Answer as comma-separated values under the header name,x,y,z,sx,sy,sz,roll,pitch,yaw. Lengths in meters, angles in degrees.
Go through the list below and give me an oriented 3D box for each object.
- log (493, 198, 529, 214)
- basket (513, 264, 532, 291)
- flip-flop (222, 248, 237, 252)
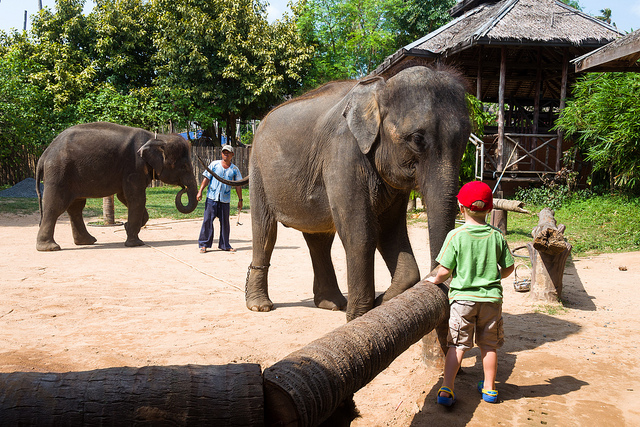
name,x,y,z,sx,sy,sz,roll,pitch,yaw
log,4.220,-0.153,12.939,0.228,0.252,1.471,34,-8,-20
basket,3.127,1.017,9.092,0.313,0.303,0.205,-18,15,-37
flip-flop,-1.904,0.753,12.093,0.196,0.077,0.066,-1,6,7
